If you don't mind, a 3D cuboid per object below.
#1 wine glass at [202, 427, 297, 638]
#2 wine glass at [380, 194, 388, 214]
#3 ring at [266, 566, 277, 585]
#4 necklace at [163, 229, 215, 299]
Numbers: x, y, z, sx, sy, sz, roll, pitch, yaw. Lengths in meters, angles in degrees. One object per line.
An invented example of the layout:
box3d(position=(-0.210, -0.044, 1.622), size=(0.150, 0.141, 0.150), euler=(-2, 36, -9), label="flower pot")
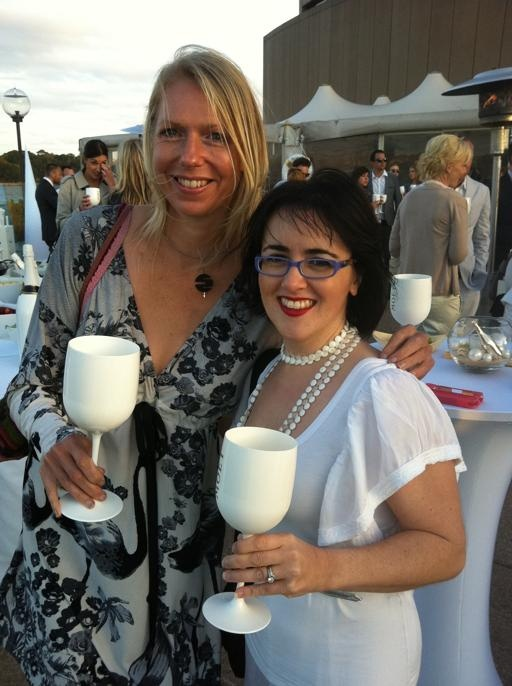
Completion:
box3d(position=(-0.015, 0.302, 0.874), size=(0.137, 0.371, 0.163), euler=(-1, 17, -6), label="wine glass")
box3d(position=(1.679, -1.855, 7.192), size=(0.136, 0.219, 0.093), euler=(-2, 2, -15), label="wine glass")
box3d(position=(0.022, 0.337, 0.791), size=(0.014, 0.028, 0.009), euler=(0, 17, -1), label="ring")
box3d(position=(-0.177, -0.208, 1.436), size=(0.092, 0.255, 0.029), euler=(-25, -21, -2), label="necklace")
